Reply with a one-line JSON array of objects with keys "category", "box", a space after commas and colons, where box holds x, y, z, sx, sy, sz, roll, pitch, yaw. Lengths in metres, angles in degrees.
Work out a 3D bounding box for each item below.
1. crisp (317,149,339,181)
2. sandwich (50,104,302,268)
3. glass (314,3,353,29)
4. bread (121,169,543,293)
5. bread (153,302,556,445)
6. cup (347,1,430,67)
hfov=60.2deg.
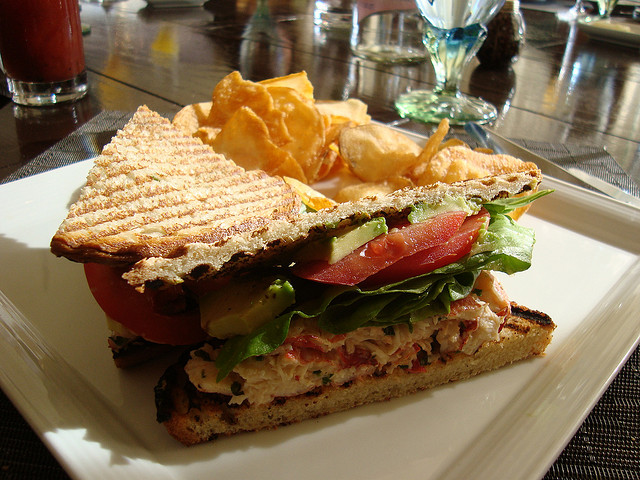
[{"category": "crisp", "box": [0.031, -0.320, 2.326, 0.029, 0.129, 0.079, 40, 7, 8]}, {"category": "sandwich", "box": [-0.515, -0.158, 1.656, 0.584, 0.096, 0.553, -13, 45, -31]}, {"category": "glass", "box": [0.105, -1.802, 4.564, 0.304, 0.210, 0.277, 12, 33, 12]}, {"category": "bread", "box": [0.015, -0.015, 1.526, 1.290, 0.125, 0.171, -11, 27, -21]}, {"category": "bread", "box": [0.117, 0.336, 1.669, 1.114, 0.132, 0.340, -11, 28, -5]}, {"category": "cup", "box": [0.467, -1.405, 3.795, 0.410, 0.440, 0.402, 0, 44, 0]}]
